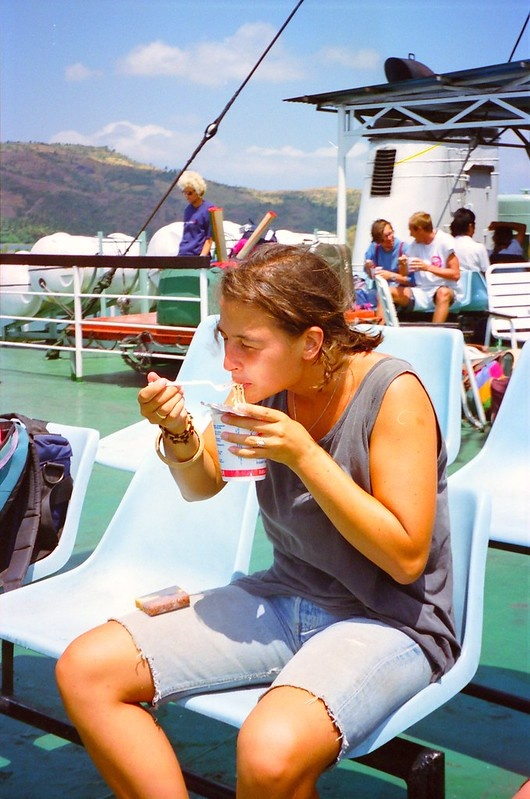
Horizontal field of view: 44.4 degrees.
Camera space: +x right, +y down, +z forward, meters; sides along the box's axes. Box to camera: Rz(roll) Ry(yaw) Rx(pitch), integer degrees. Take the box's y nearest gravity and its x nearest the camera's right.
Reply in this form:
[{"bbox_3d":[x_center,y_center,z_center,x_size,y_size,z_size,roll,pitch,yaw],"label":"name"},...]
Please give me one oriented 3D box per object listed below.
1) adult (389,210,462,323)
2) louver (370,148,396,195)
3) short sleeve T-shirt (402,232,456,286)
[{"bbox_3d":[1.844,-1.393,7.529,0.905,1.380,0.856,1,11,39],"label":"adult"},{"bbox_3d":[2.495,-4.718,13.568,0.089,1.019,0.577,-2,12,-39],"label":"louver"},{"bbox_3d":[1.929,-1.585,7.489,0.576,0.628,0.365,-3,20,28],"label":"short sleeve T-shirt"}]
